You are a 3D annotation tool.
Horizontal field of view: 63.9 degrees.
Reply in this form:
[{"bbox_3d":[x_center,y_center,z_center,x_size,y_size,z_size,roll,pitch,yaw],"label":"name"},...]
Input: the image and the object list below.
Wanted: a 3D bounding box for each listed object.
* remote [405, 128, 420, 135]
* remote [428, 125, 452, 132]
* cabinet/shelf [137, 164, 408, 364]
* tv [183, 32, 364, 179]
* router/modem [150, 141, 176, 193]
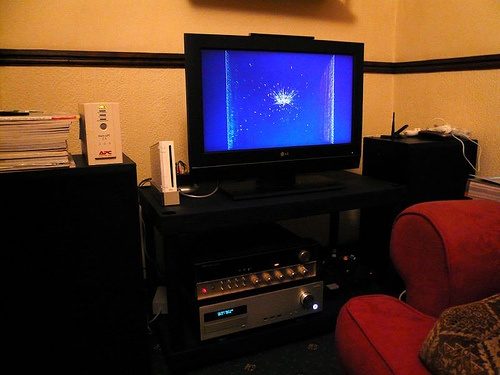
[{"bbox_3d":[0.881,-0.300,2.188,0.073,0.033,0.102,3,17,17],"label":"remote"},{"bbox_3d":[1.010,-0.312,2.132,0.063,0.030,0.117,-12,19,-31],"label":"remote"},{"bbox_3d":[0.101,0.348,2.066,1.245,0.761,0.656,-6,15,-23],"label":"cabinet/shelf"},{"bbox_3d":[0.140,-0.372,1.849,0.888,0.639,0.085,-7,16,-18],"label":"tv"},{"bbox_3d":[-0.373,-0.103,1.715,0.100,0.206,0.198,-6,16,-16],"label":"router/modem"}]
